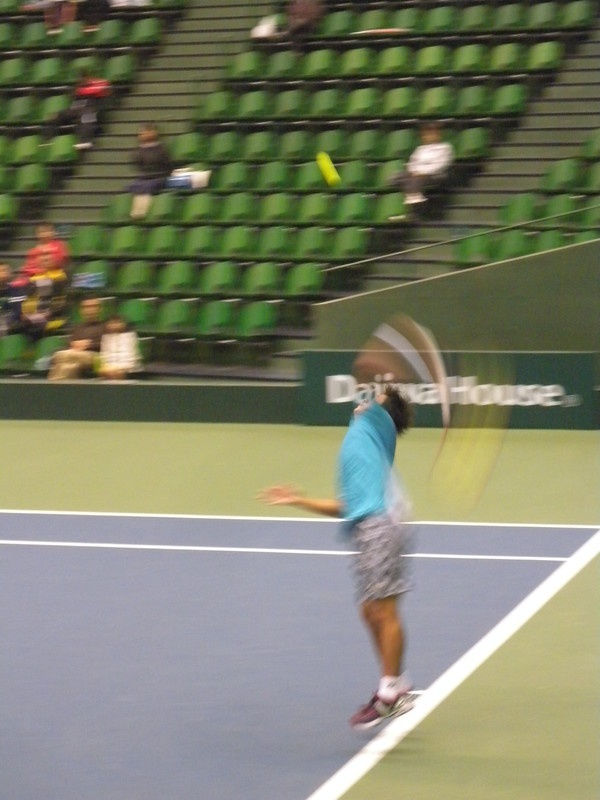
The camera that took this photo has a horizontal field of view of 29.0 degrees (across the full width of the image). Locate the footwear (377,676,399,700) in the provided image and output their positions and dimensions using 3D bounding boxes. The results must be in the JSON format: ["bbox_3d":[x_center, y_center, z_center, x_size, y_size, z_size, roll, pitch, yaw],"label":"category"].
[{"bbox_3d":[0.368,1.210,4.854,0.090,0.103,0.045,-1,11,1],"label":"footwear"}]

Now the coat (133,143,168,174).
[{"bbox_3d":[-1.749,-2.886,13.648,0.467,0.403,0.288,5,52,0],"label":"coat"}]

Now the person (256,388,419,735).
[{"bbox_3d":[0.200,0.916,6.319,0.906,0.711,1.792,-1,49,4],"label":"person"}]

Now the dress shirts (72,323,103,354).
[{"bbox_3d":[-2.149,-0.624,11.726,0.344,0.260,0.133,0,11,5],"label":"dress shirts"}]

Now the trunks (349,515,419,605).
[{"bbox_3d":[0.341,0.677,4.944,0.260,0.382,0.194,-1,11,3],"label":"trunks"}]

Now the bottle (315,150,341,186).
[{"bbox_3d":[0.325,-2.595,13.030,0.247,0.377,0.422,-2,10,-2],"label":"bottle"}]

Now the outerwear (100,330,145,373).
[{"bbox_3d":[-1.787,-0.470,11.581,0.523,0.444,0.280,-1,6,12],"label":"outerwear"}]

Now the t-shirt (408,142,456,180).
[{"bbox_3d":[1.338,-2.484,11.921,0.480,0.355,0.322,-1,10,3],"label":"t-shirt"}]

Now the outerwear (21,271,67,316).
[{"bbox_3d":[-2.704,-1.129,12.197,0.462,0.476,0.168,-3,11,-10],"label":"outerwear"}]
